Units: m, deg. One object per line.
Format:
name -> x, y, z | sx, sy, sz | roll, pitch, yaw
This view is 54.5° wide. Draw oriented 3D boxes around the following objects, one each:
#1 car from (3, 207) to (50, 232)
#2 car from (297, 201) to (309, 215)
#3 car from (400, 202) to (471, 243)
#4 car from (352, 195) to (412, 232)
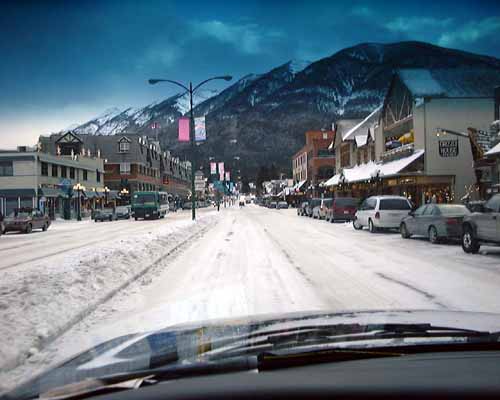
car -> -13.263, 1.173, 28.895 | 1.145, 1.069, 2.794 | -1, -6, 3
car -> 5.366, 0.887, 50.621 | 1.086, 1.231, 3.053 | 1, 4, 1
car -> 6.332, 0.760, 16.478 | 0.941, 0.844, 2.396 | 0, 3, -4
car -> 5.803, 0.529, 22.189 | 1.213, 1.126, 2.570 | -1, 6, -4
